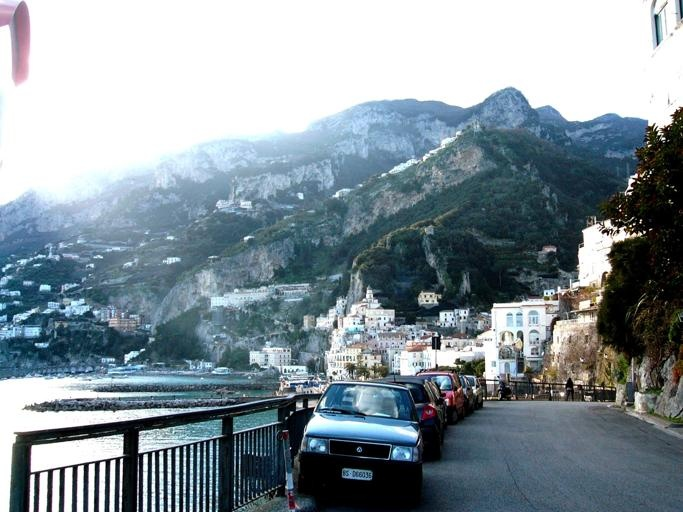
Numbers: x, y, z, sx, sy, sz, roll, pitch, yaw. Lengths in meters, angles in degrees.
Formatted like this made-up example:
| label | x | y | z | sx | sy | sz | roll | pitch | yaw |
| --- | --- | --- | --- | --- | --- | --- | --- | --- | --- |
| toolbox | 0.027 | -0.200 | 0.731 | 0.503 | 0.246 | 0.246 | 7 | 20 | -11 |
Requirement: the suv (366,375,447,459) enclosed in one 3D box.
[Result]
| label | x | y | z | sx | sy | sz | roll | pitch | yaw |
| --- | --- | --- | --- | --- | --- | --- | --- | --- | --- |
| suv | 1.956 | 3.967 | 17.922 | 1.211 | 1.304 | 2.868 | -1 | -2 | 8 |

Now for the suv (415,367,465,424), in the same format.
| label | x | y | z | sx | sy | sz | roll | pitch | yaw |
| --- | --- | --- | --- | --- | --- | --- | --- | --- | --- |
| suv | 3.732 | 4.841 | 25.103 | 1.442 | 1.380 | 3.437 | -3 | -14 | 9 |

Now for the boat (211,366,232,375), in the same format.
| label | x | y | z | sx | sy | sz | roll | pitch | yaw |
| --- | --- | --- | --- | --- | --- | --- | --- | --- | --- |
| boat | -34.427 | 32.278 | 200.552 | 5.181 | 2.532 | 11.623 | 0 | -11 | -19 |

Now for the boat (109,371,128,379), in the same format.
| label | x | y | z | sx | sy | sz | roll | pitch | yaw |
| --- | --- | --- | --- | --- | --- | --- | --- | --- | --- |
| boat | -65.018 | 34.151 | 204.418 | 5.050 | 2.447 | 21.363 | 0 | -11 | -18 |

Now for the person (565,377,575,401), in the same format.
| label | x | y | z | sx | sy | sz | roll | pitch | yaw |
| --- | --- | --- | --- | --- | --- | --- | --- | --- | --- |
| person | 14.047 | 8.181 | 43.650 | 0.400 | 1.316 | 2.603 | -5 | -10 | 15 |

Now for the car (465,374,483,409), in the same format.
| label | x | y | z | sx | sy | sz | roll | pitch | yaw |
| --- | --- | --- | --- | --- | --- | --- | --- | --- | --- |
| car | 6.364 | 6.401 | 33.485 | 1.137 | 1.166 | 2.567 | -1 | 1 | 11 |
